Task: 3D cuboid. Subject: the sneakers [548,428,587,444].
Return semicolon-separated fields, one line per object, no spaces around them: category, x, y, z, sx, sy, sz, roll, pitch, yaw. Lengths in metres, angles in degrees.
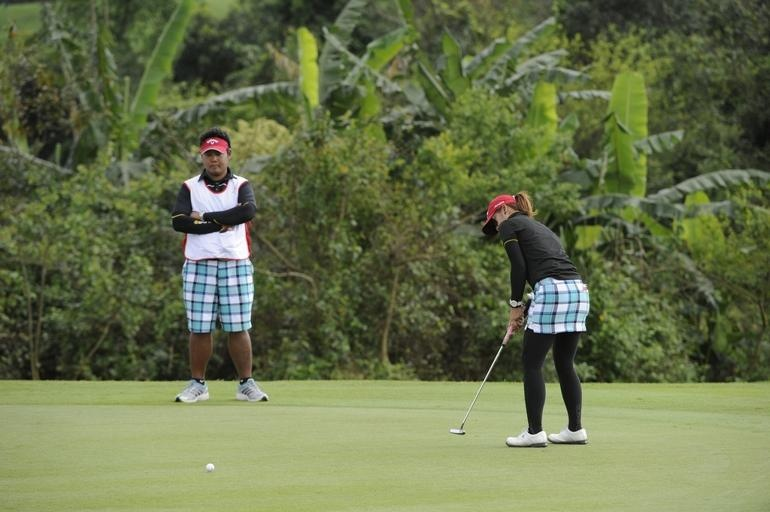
sneakers;1.915;1.892;11.928;0.412;0.191;0.161;2;-2;14

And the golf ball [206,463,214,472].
golf ball;-1.686;2.025;10.973;0.049;0.074;0.057;2;-49;-5

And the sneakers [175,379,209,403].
sneakers;-2.199;1.591;13.279;0.178;0.246;0.459;-2;-8;38

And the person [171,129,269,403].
person;-1.927;0.129;13.107;0.939;3.107;0.522;-1;-4;-8

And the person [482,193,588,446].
person;1.619;0.652;11.884;0.987;2.623;0.441;-2;-4;10

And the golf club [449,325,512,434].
golf club;1.201;1.562;14.353;0.195;1.200;0.129;23;1;2

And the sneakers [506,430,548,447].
sneakers;1.475;1.908;11.840;0.433;0.229;0.169;2;-10;3
